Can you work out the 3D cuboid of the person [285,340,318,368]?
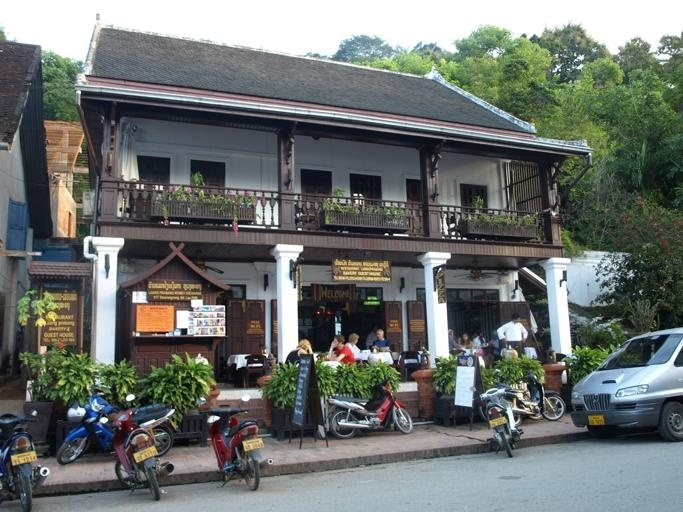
[{"bbox_3d":[-1.055,2.350,16.239,0.826,0.604,0.384,1,6,39],"label":"person"}]

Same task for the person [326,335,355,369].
[{"bbox_3d":[0.011,2.588,17.460,0.675,1.271,0.598,1,-22,4],"label":"person"}]

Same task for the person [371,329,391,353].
[{"bbox_3d":[1.323,2.801,21.840,0.519,1.052,0.567,-5,-26,9],"label":"person"}]

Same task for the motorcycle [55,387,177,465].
[{"bbox_3d":[-4.351,3.556,13.679,2.626,1.768,1.273,8,-11,-20],"label":"motorcycle"}]

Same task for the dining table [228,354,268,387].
[{"bbox_3d":[-2.590,3.284,19.305,1.153,0.854,1.076,9,-7,-10],"label":"dining table"}]

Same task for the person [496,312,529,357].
[{"bbox_3d":[5.358,2.381,20.762,0.822,1.228,1.055,-2,5,14],"label":"person"}]

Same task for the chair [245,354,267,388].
[{"bbox_3d":[-2.463,3.297,19.129,0.666,1.070,1.677,-4,5,-9],"label":"chair"}]

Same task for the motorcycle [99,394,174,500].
[{"bbox_3d":[-3.669,3.480,12.112,0.838,1.708,1.637,-5,5,-26],"label":"motorcycle"}]

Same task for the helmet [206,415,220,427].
[{"bbox_3d":[-2.424,3.076,12.472,0.226,0.227,0.199,5,-6,-26],"label":"helmet"}]

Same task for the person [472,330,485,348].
[{"bbox_3d":[4.932,2.959,23.712,0.392,0.739,0.257,-4,-5,2],"label":"person"}]

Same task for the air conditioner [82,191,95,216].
[{"bbox_3d":[-8.284,-1.692,21.740,0.306,0.835,0.546,-5,5,-25],"label":"air conditioner"}]

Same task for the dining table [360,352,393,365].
[{"bbox_3d":[1.052,2.880,19.027,0.574,0.208,0.808,-8,-16,42],"label":"dining table"}]

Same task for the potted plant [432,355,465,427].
[{"bbox_3d":[2.827,3.495,17.550,0.737,1.779,1.070,-3,5,-6],"label":"potted plant"}]

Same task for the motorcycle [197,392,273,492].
[{"bbox_3d":[-1.912,3.559,12.291,1.271,1.489,0.473,1,6,39],"label":"motorcycle"}]
